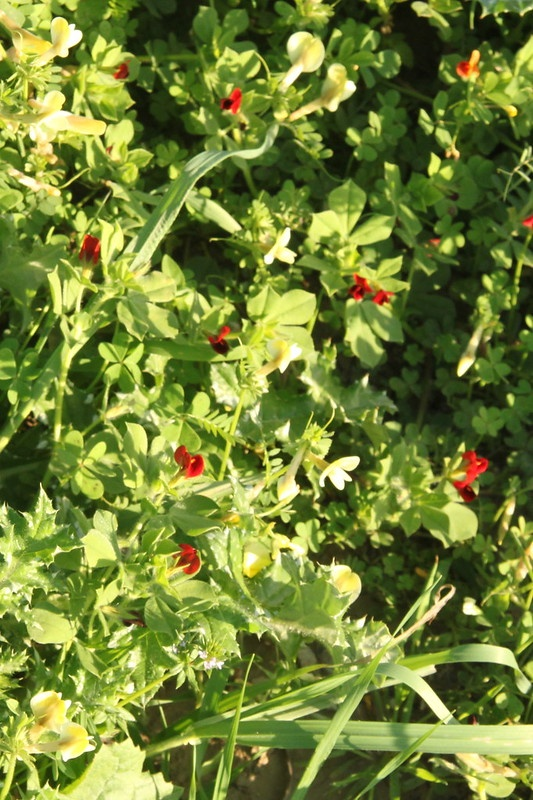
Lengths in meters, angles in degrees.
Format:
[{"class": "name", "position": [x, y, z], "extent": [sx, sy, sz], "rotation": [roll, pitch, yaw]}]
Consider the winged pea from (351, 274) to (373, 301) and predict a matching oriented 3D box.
[{"class": "winged pea", "position": [0.191, -0.224, 1.459], "extent": [0.046, 0.050, 0.037], "rotation": [12, 17, 1]}]

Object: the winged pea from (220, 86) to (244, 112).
[{"class": "winged pea", "position": [-0.064, -0.569, 1.376], "extent": [0.023, 0.047, 0.051], "rotation": [14, 8, -25]}]

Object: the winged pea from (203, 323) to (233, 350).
[{"class": "winged pea", "position": [-0.092, -0.120, 1.380], "extent": [0.022, 0.047, 0.042], "rotation": [3, -23, -32]}]

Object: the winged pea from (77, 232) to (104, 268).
[{"class": "winged pea", "position": [-0.262, -0.223, 1.090], "extent": [0.030, 0.046, 0.033], "rotation": [6, 18, -18]}]

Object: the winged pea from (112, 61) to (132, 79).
[{"class": "winged pea", "position": [-0.293, -0.671, 1.491], "extent": [0.033, 0.035, 0.011], "rotation": [-11, 59, -19]}]

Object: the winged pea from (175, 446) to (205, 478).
[{"class": "winged pea", "position": [-0.107, 0.096, 1.120], "extent": [0.027, 0.050, 0.043], "rotation": [-34, 28, -30]}]
